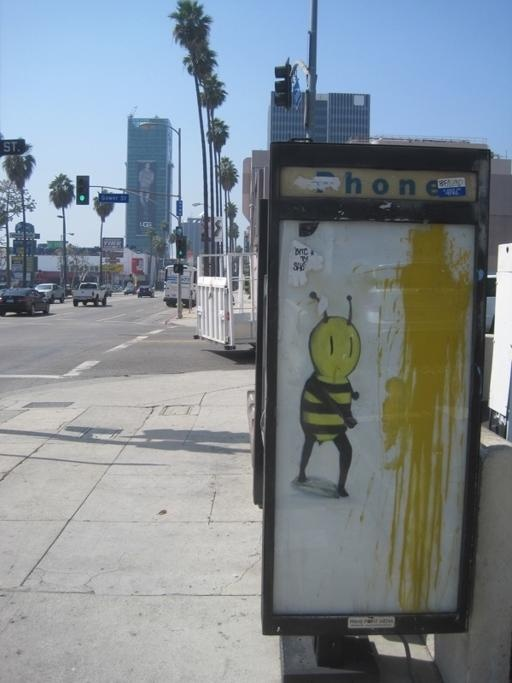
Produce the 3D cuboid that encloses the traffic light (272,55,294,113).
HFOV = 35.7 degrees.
[{"bbox_3d":[0.476,-4.422,13.912,0.221,0.864,0.187,0,-4,-5],"label":"traffic light"}]
